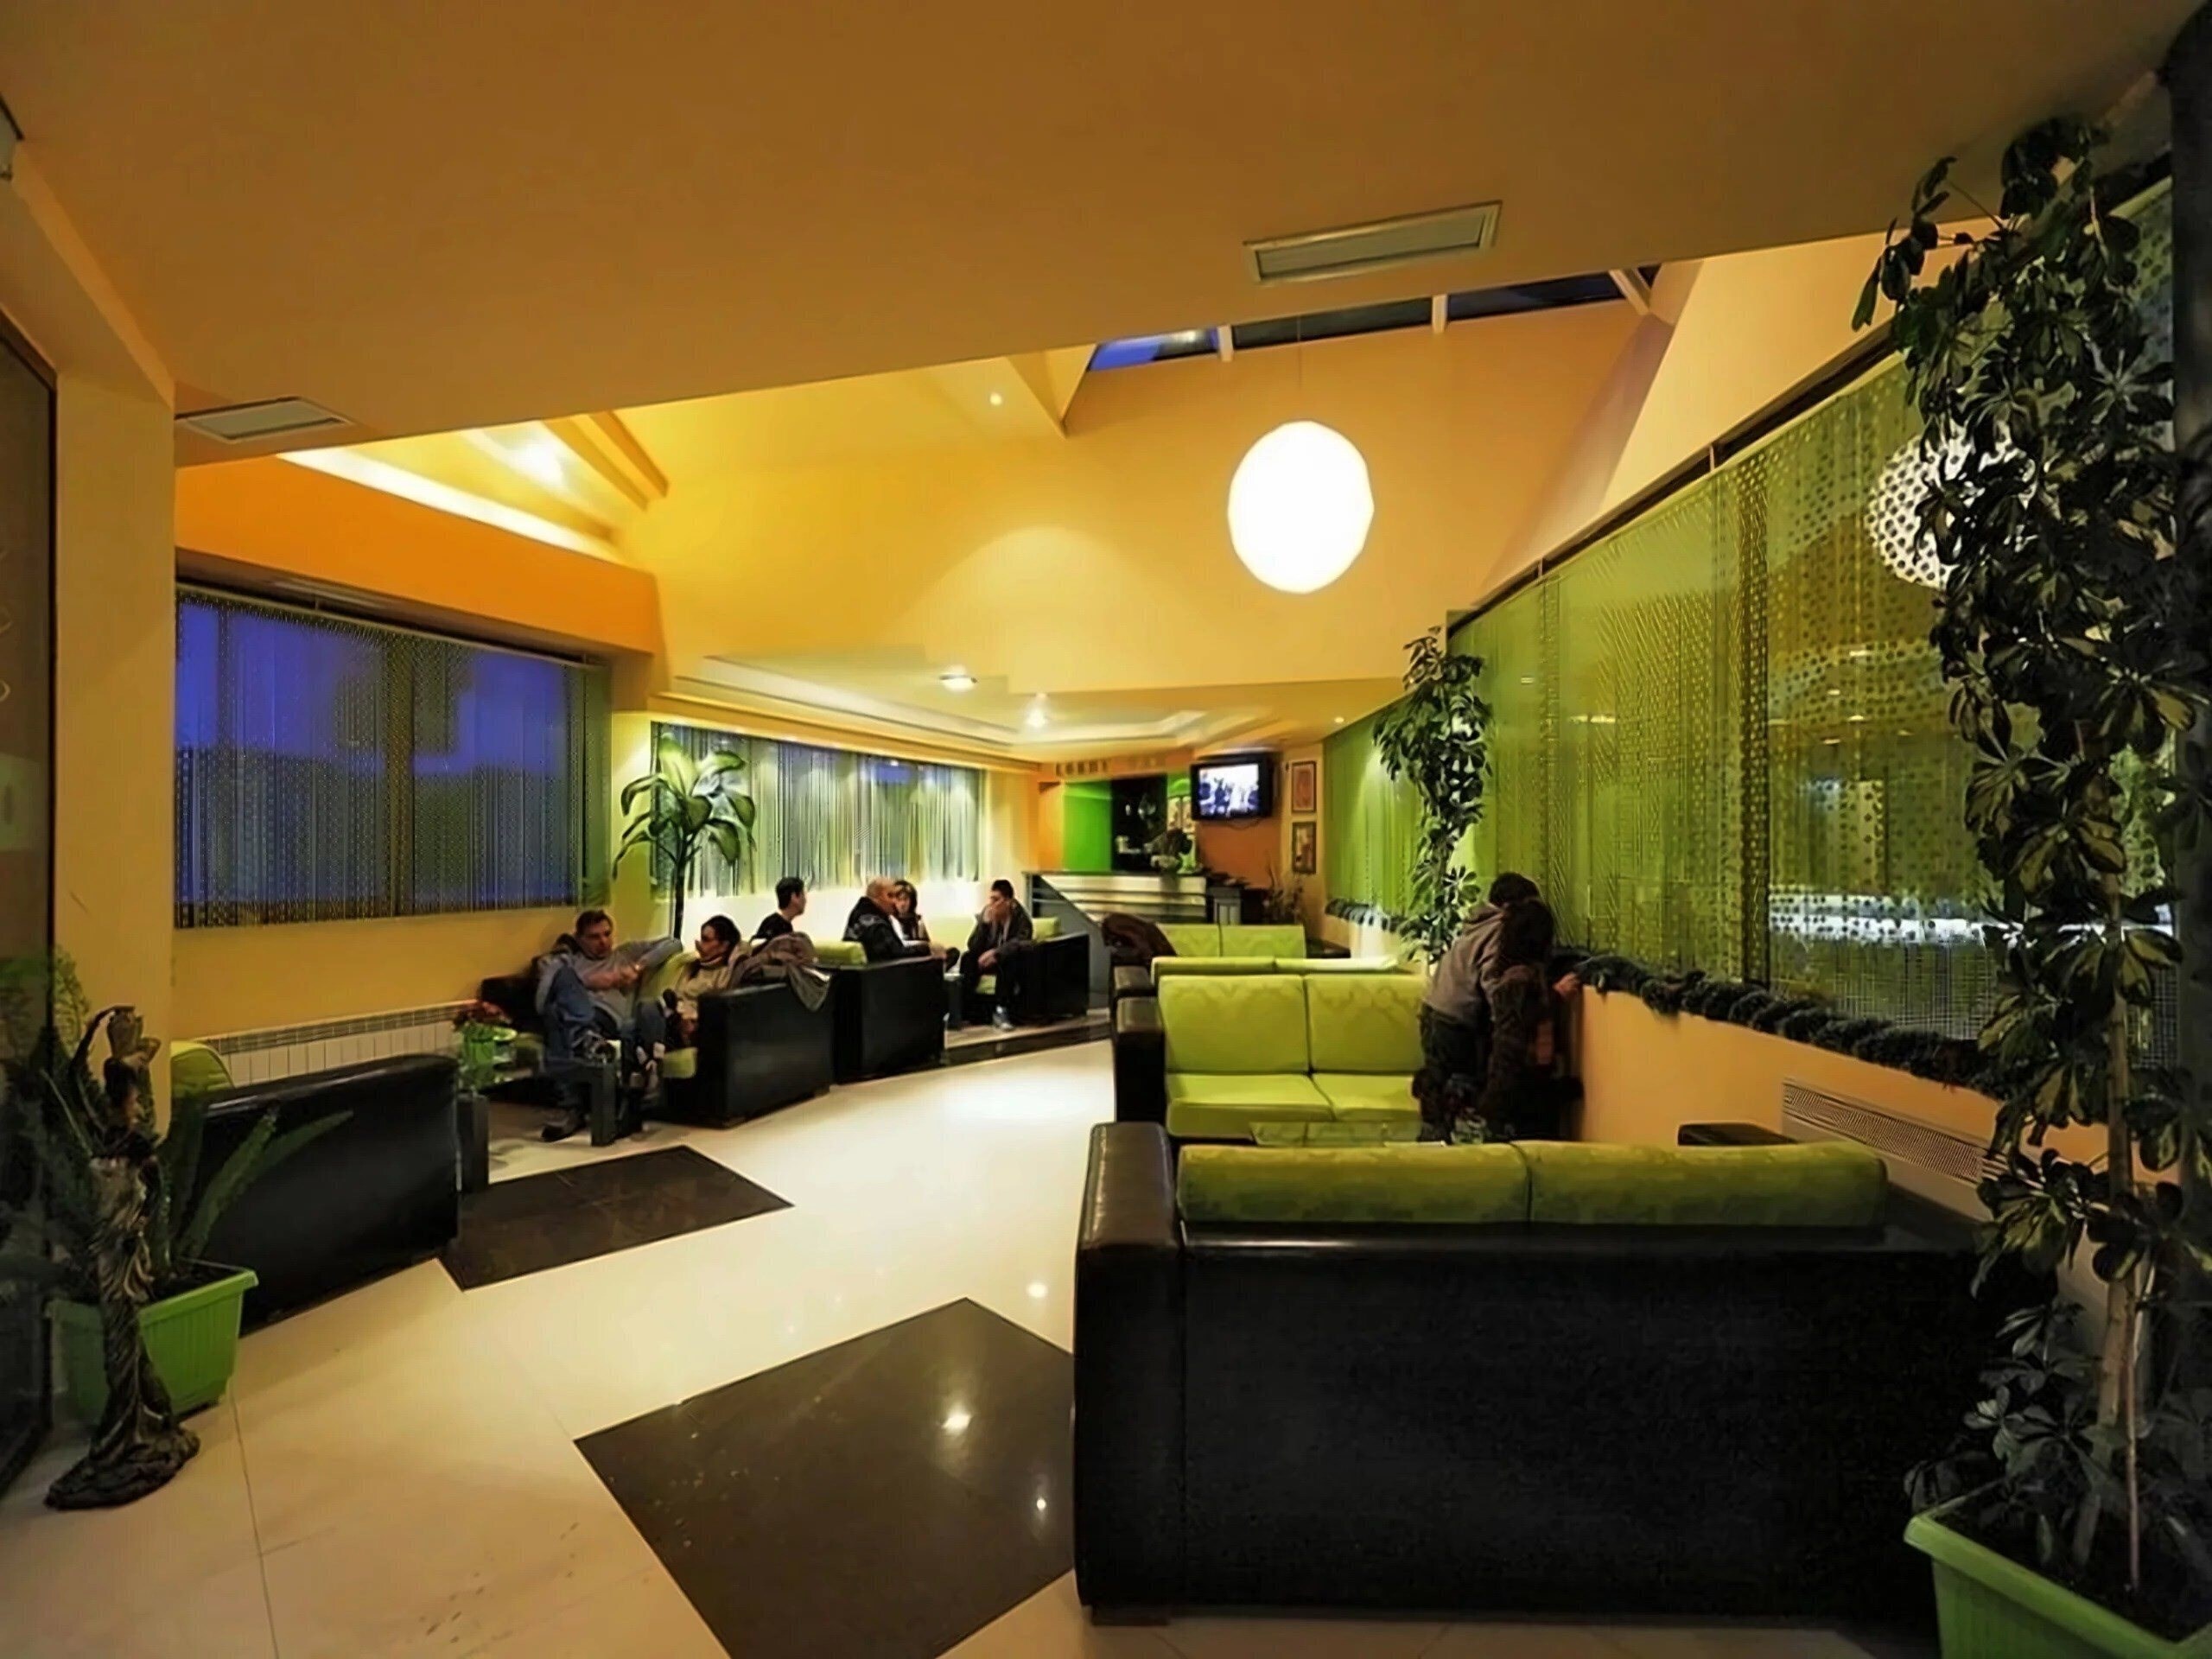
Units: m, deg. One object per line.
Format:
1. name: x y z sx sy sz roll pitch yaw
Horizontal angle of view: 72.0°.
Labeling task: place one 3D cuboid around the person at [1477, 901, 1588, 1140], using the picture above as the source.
1. person: 1.779 0.814 6.441 0.359 1.142 0.909 5 12 28

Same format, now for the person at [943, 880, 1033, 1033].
1. person: -0.943 0.985 11.674 0.619 1.421 0.788 -8 -14 35

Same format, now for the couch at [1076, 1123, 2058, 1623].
1. couch: 1.120 1.365 4.572 2.337 1.410 1.376 0 14 -2

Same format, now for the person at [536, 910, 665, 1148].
1. person: -2.633 1.067 7.896 0.401 0.784 1.092 7 14 -27

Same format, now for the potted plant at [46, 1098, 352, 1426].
1. potted plant: -2.818 1.352 4.869 0.820 1.298 0.812 6 -11 -38

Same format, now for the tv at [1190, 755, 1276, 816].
1. tv: 1.140 -0.380 13.757 0.446 0.630 0.849 7 -8 -30

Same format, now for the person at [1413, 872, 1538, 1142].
1. person: 1.581 0.789 6.595 0.481 1.289 0.475 -11 27 -28

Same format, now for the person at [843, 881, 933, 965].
1. person: -1.462 0.618 10.076 0.490 0.767 0.519 -3 6 -35
